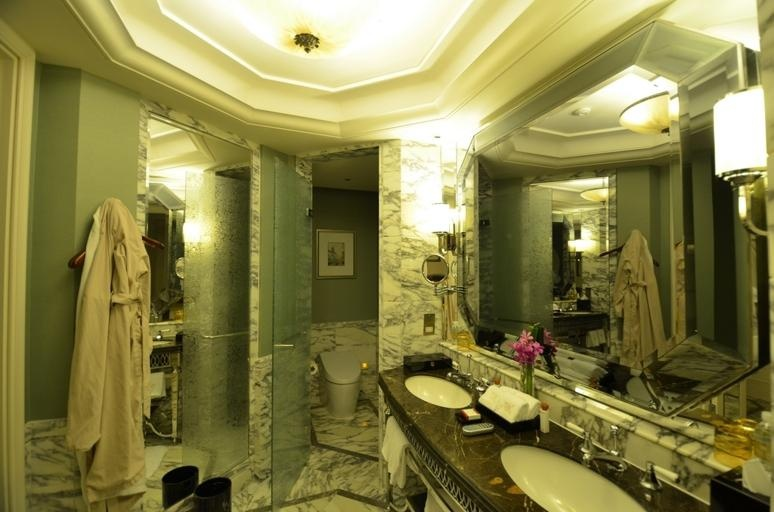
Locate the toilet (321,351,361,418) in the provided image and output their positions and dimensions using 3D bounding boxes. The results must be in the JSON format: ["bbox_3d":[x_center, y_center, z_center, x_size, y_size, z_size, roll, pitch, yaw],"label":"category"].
[{"bbox_3d":[-0.472,1.192,5.525,0.384,0.436,0.623,0,12,-12],"label":"toilet"}]

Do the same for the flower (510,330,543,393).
[{"bbox_3d":[0.842,0.649,3.266,0.183,0.337,0.168,6,-9,1],"label":"flower"}]

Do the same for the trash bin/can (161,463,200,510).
[{"bbox_3d":[-1.347,1.485,3.639,0.181,0.182,0.276,1,2,20],"label":"trash bin/can"}]

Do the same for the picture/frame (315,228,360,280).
[{"bbox_3d":[-0.565,-0.020,6.018,0.595,0.633,0.045,1,-6,-31],"label":"picture/frame"}]

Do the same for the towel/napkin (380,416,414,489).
[{"bbox_3d":[0.055,1.223,3.497,0.144,0.400,0.346,-4,-1,-5],"label":"towel/napkin"}]

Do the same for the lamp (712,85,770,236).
[{"bbox_3d":[1.628,-0.428,2.580,0.207,0.757,0.108,-5,-1,29],"label":"lamp"}]

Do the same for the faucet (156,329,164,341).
[{"bbox_3d":[-1.552,0.538,3.815,0.057,0.096,0.054,1,6,-20],"label":"faucet"}]

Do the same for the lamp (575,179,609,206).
[{"bbox_3d":[1.157,-0.357,3.125,0.134,0.093,0.132,-1,0,21],"label":"lamp"}]

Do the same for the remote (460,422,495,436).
[{"bbox_3d":[0.497,0.944,3.085,0.148,0.023,0.067,-1,1,-11],"label":"remote"}]
